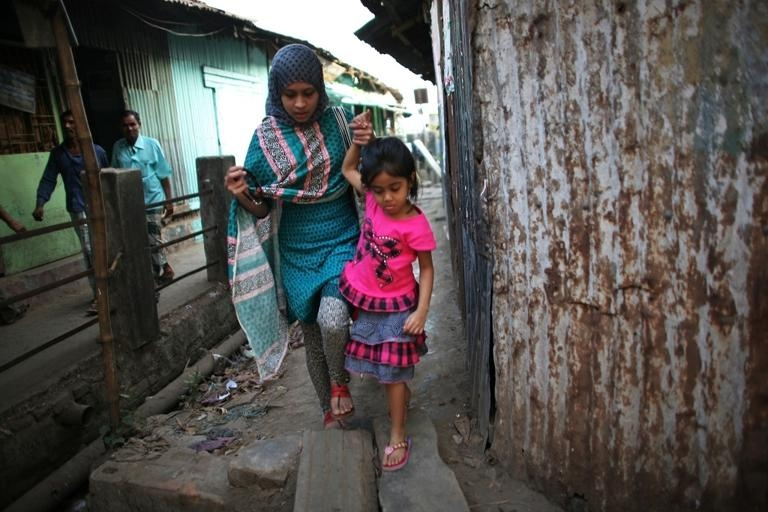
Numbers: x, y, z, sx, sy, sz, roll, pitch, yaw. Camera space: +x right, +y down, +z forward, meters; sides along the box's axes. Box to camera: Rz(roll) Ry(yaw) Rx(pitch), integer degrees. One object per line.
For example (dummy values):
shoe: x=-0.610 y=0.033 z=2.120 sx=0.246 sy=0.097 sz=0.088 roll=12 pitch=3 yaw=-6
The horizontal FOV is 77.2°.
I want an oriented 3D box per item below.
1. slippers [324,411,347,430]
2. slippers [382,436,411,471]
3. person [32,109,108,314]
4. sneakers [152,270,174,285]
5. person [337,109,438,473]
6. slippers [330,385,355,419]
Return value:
slippers: x=-0.301 y=1.040 z=3.063 sx=0.137 sy=0.154 sz=0.089 roll=3 pitch=-3 yaw=1
slippers: x=0.073 y=1.105 z=2.698 sx=0.191 sy=0.121 sz=0.123 roll=-8 pitch=13 yaw=-16
person: x=-3.577 y=-0.562 z=5.702 sx=0.885 sy=2.366 sz=0.698 roll=-4 pitch=40 yaw=-26
sneakers: x=-2.571 y=0.258 z=5.564 sx=0.157 sy=0.081 sz=0.210 roll=-16 pitch=-7 yaw=-35
person: x=-0.004 y=0.151 z=2.806 sx=0.492 sy=1.934 sz=0.620 roll=-11 pitch=14 yaw=-34
slippers: x=-0.272 y=0.898 z=3.080 sx=0.151 sy=0.144 sz=0.433 roll=-2 pitch=5 yaw=-6
